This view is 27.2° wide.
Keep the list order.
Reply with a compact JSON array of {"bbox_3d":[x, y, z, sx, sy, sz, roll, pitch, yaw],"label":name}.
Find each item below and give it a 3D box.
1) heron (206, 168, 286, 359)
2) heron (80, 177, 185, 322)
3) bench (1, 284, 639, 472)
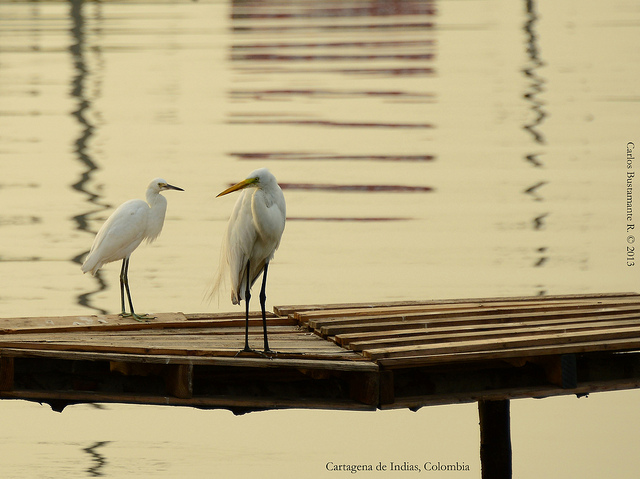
[{"bbox_3d":[-0.832,0.305,15.061,0.753,2.196,1.058,5,-27,-3],"label":"heron"},{"bbox_3d":[-2.457,0.119,16.630,0.993,2.149,0.604,8,-28,-8],"label":"heron"},{"bbox_3d":[0.169,1.193,15.389,7.159,1.882,1.208,4,-26,-5],"label":"bench"}]
